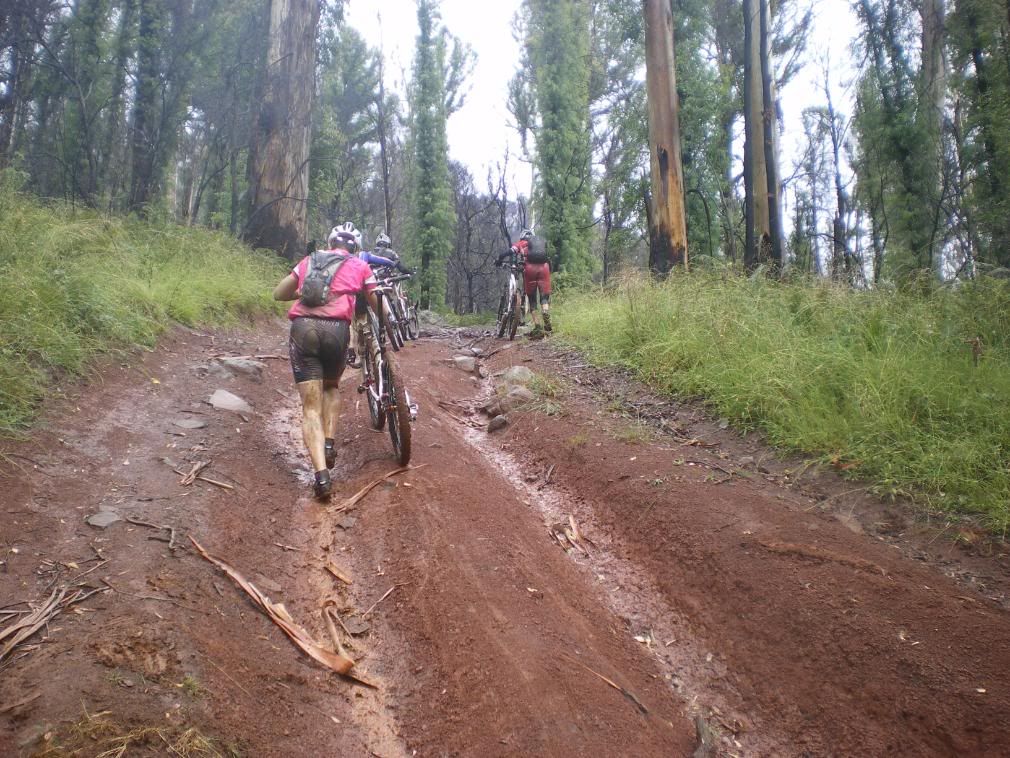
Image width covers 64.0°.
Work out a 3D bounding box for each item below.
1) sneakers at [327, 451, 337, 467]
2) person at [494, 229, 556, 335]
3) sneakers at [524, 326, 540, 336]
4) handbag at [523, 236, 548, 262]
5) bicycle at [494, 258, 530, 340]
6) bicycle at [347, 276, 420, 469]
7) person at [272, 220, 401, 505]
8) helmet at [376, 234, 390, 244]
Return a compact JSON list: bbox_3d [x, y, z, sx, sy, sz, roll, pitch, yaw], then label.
[{"bbox_3d":[-2.148,0.989,9.968,0.093,0.183,0.161,0,19,-15],"label":"sneakers"},{"bbox_3d":[0.371,-2.200,16.514,0.889,1.483,2.141,1,18,-4],"label":"person"},{"bbox_3d":[0.533,-0.947,16.002,0.100,0.136,0.336,20,2,-21],"label":"sneakers"},{"bbox_3d":[0.558,-2.518,15.649,0.350,0.513,0.238,2,-18,-15],"label":"handbag"},{"bbox_3d":[0.122,-1.734,16.297,0.613,0.972,1.483,2,22,-5],"label":"bicycle"},{"bbox_3d":[-1.834,-0.014,10.658,1.006,1.580,2.394,-10,34,-10],"label":"bicycle"},{"bbox_3d":[-2.236,-0.285,9.926,0.834,3.353,1.063,5,3,16],"label":"person"},{"bbox_3d":[-2.485,-2.815,16.291,0.201,0.211,0.280,-14,15,2],"label":"helmet"}]
